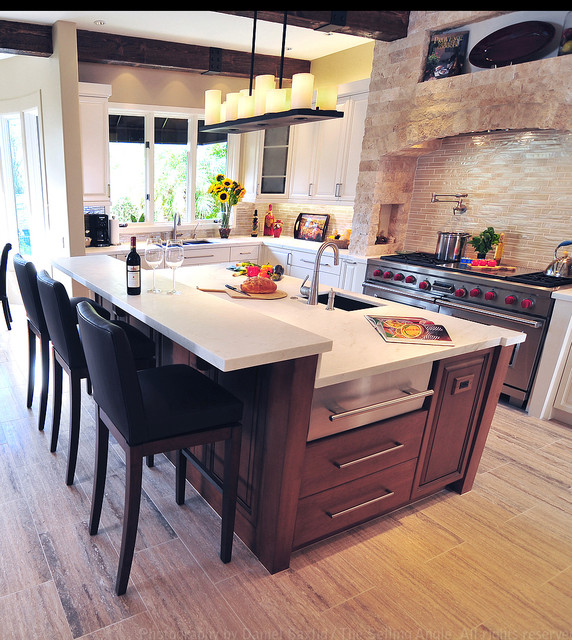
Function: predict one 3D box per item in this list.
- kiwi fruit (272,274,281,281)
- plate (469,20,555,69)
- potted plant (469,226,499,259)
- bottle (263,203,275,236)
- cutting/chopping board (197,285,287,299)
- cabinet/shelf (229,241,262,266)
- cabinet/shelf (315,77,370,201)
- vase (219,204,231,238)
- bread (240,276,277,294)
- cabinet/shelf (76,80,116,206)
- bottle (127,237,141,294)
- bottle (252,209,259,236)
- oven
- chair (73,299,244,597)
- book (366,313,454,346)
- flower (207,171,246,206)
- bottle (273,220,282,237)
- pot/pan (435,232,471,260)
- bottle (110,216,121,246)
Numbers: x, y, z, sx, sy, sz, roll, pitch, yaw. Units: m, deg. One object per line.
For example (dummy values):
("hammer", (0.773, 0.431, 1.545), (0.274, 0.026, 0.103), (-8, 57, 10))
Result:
("kiwi fruit", (-0.068, -0.287, 3.099), (0.057, 0.043, 0.071), (-1, 10, 0))
("plate", (1.710, -2.095, 3.554), (0.095, 0.289, 0.671), (-9, 20, -36))
("potted plant", (1.750, -0.682, 4.083), (0.226, 0.269, 0.324), (11, 18, 24))
("bottle", (-0.231, -1.350, 6.281), (0.149, 0.413, 0.383), (3, 16, -3))
("cutting/chopping board", (-0.265, -0.162, 2.781), (0.545, 0.039, 0.256), (3, 15, -2))
("cabinet/shelf", (-0.485, -0.816, 5.661), (0.145, 0.263, 0.473), (14, 19, 31))
("cabinet/shelf", (0.505, -1.764, 5.106), (0.827, 0.895, 0.344), (-11, 23, -36))
("vase", (-0.765, -1.225, 5.796), (0.110, 0.404, 0.216), (1, 17, -8))
("bread", (-0.159, -0.216, 2.799), (0.170, 0.062, 0.102), (-3, 17, -25))
("cabinet/shelf", (-1.873, -1.713, 4.595), (0.297, 1.129, 0.143), (-4, 19, -23))
("bottle", (-0.719, -0.262, 2.190), (0.065, 0.269, 0.234), (-2, 17, -17))
("bottle", (-0.421, -1.319, 6.267), (0.104, 0.354, 0.251), (2, 17, -4))
("oven", (1.549, -0.045, 4.201), (0.812, 1.069, 1.629), (-23, 31, -38))
("chair", (-0.519, 0.488, 1.941), (0.668, 0.999, 0.632), (2, 12, -13))
("book", (0.601, 0.040, 2.283), (0.381, 0.030, 0.442), (3, 15, 0))
("flower", (-0.710, -1.546, 5.596), (0.278, 0.375, 0.393), (14, 19, 31))
("bottle", (-0.118, -1.232, 6.255), (0.110, 0.203, 0.323), (4, 16, 1))
("pot/pan", (1.507, -0.670, 4.244), (0.304, 0.244, 0.225), (0, 14, -7))
("bottle", (-1.828, -0.948, 4.955), (0.076, 0.282, 0.154), (0, 17, -12))
